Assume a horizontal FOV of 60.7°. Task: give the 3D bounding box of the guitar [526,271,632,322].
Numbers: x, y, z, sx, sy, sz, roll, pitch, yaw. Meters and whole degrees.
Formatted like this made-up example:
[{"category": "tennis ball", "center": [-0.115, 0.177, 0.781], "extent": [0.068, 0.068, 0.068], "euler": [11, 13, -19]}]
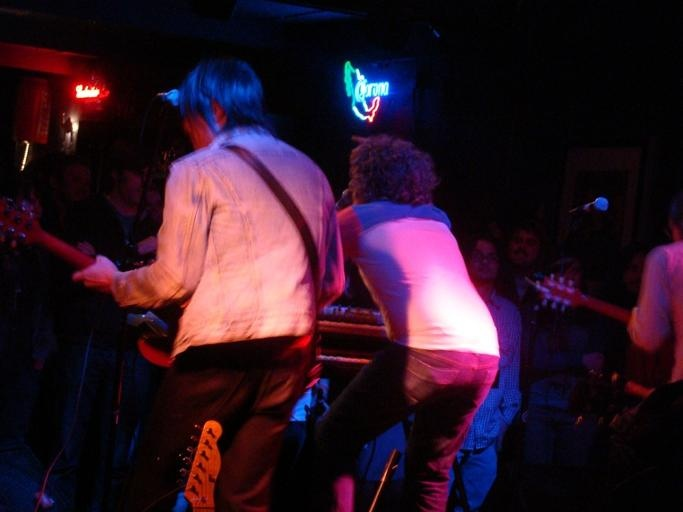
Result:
[{"category": "guitar", "center": [1.817, 0.277, 4.468], "extent": [0.629, 0.232, 1.659], "euler": [18, -1, 21]}]
